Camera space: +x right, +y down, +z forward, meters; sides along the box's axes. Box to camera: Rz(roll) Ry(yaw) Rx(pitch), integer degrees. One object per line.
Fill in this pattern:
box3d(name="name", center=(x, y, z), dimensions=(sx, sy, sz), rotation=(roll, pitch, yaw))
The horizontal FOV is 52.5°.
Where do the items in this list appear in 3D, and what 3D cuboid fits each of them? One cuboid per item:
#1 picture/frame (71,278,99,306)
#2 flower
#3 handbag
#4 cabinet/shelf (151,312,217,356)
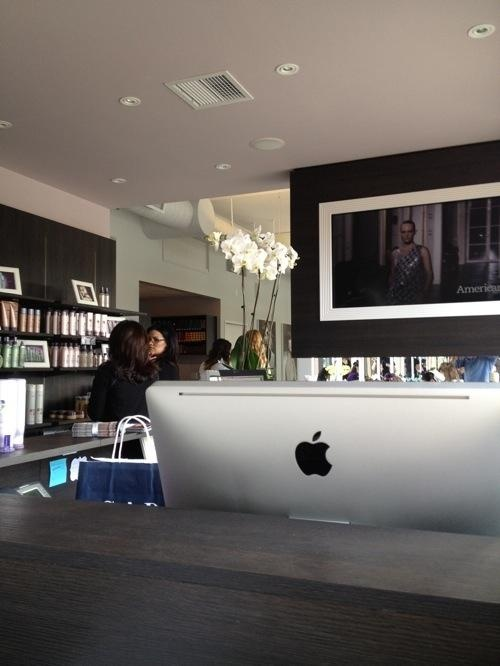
box3d(name="picture/frame", center=(-1.739, -0.428, 5.294), dimensions=(0.016, 0.250, 0.348), rotation=(-23, -3, 11))
box3d(name="flower", center=(0.015, -0.190, 3.752), dimensions=(0.677, 1.073, 0.394), rotation=(10, 17, 14))
box3d(name="handbag", center=(-0.295, 0.337, 1.257), dimensions=(0.244, 0.206, 0.085), rotation=(1, 14, -7))
box3d(name="cabinet/shelf", center=(-0.948, 0.015, 8.003), dimensions=(0.863, 0.586, 0.309), rotation=(-2, -8, 19))
